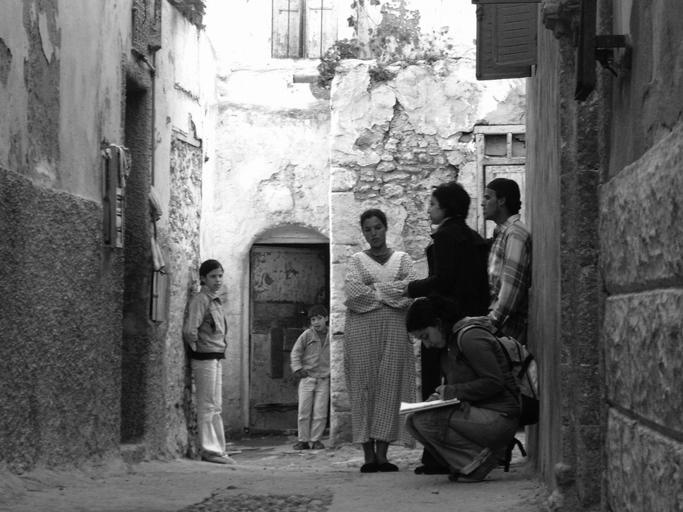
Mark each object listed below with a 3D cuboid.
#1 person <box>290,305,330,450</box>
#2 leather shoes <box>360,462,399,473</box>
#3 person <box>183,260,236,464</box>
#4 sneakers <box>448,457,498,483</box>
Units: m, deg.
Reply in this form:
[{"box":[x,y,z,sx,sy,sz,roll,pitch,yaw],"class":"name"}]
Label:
[{"box":[-0.370,1.247,13.110,0.383,1.440,1.008,-1,-1,-2],"class":"person"},{"box":[0.218,1.538,8.991,0.255,0.101,0.092,1,-4,7],"class":"leather shoes"},{"box":[-1.220,0.964,11.539,0.448,1.856,0.548,-1,-1,15],"class":"person"},{"box":[0.782,1.372,7.932,0.351,0.239,0.119,3,-11,-6],"class":"sneakers"}]
